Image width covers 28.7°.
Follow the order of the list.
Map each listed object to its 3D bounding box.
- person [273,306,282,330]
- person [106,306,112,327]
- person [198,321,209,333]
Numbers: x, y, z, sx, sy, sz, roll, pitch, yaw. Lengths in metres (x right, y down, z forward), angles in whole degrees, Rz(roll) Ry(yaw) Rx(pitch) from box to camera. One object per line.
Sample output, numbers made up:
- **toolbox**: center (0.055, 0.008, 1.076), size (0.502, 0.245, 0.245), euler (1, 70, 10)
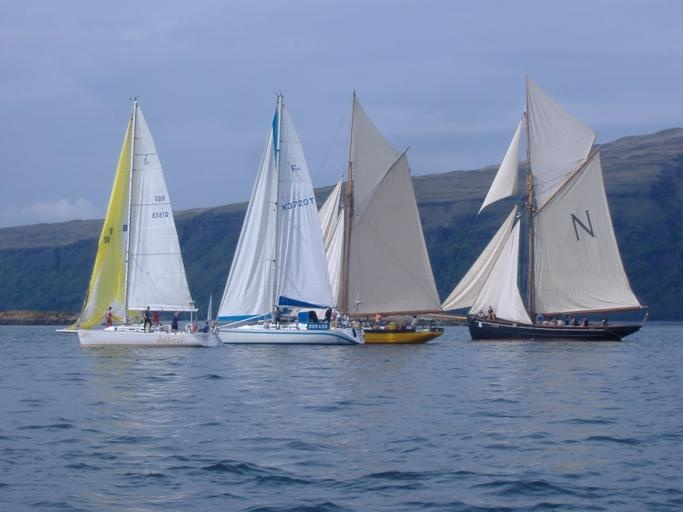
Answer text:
- **person**: center (-5.277, 5.043, 110.120), size (0.564, 2.001, 1.365), euler (-1, -11, -3)
- **person**: center (-18.850, 4.857, 108.124), size (0.502, 1.728, 0.772), euler (-2, -11, 0)
- **person**: center (-11.326, 5.946, 109.887), size (0.747, 0.917, 2.204), euler (-1, -11, -8)
